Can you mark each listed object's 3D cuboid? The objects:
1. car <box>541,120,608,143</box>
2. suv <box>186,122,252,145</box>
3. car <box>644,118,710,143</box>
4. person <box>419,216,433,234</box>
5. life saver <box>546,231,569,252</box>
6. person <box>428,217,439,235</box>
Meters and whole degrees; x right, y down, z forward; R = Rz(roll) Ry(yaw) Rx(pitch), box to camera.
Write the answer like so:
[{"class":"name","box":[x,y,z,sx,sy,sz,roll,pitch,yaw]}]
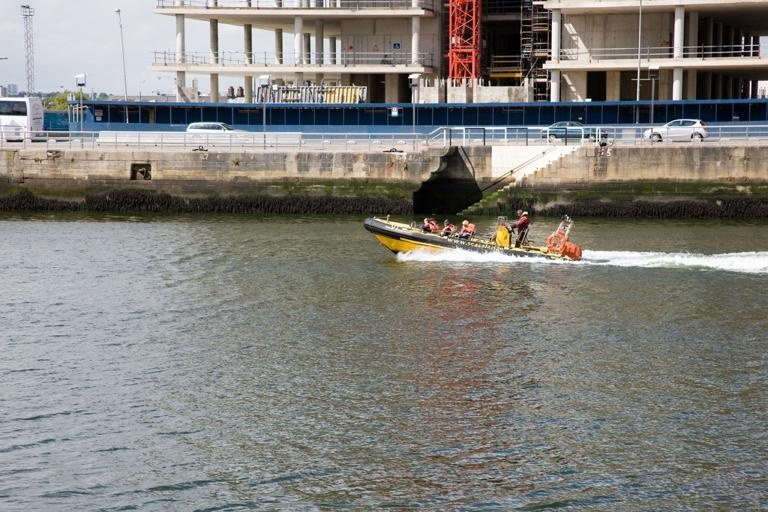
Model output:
[{"class":"car","box":[11.099,-7.576,93.900,4.751,1.121,1.779,0,5,9]},{"class":"suv","box":[-10.597,-7.382,95.658,4.846,1.256,1.808,-1,27,-1]},{"class":"car","box":[17.253,-7.475,91.062,3.615,1.215,2.927,2,7,14]},{"class":"person","box":[2.066,-1.556,75.966,0.776,0.721,0.381,3,-4,2]},{"class":"life saver","box":[8.602,-0.631,74.938,1.204,0.959,0.381,17,-10,32]},{"class":"person","box":[2.256,-1.368,76.053,0.434,0.545,0.871,-18,-34,16]}]
